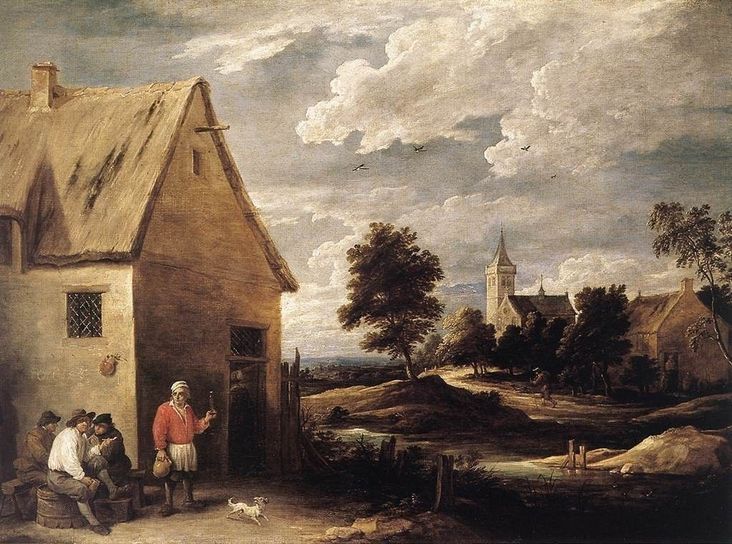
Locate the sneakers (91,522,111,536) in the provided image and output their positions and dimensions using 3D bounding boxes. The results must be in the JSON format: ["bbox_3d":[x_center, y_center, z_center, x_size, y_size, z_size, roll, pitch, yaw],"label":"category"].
[{"bbox_3d":[-6.206,6.045,30.260,0.583,0.191,0.207,9,17,32],"label":"sneakers"}]

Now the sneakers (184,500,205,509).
[{"bbox_3d":[-4.089,5.554,30.819,0.415,0.148,0.208,1,0,-23],"label":"sneakers"}]

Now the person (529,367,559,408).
[{"bbox_3d":[5.000,3.230,36.071,0.638,0.782,0.421,-5,-3,6],"label":"person"}]

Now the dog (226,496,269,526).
[{"bbox_3d":[-2.848,5.761,31.153,0.940,0.673,1.094,-4,-3,-3],"label":"dog"}]
